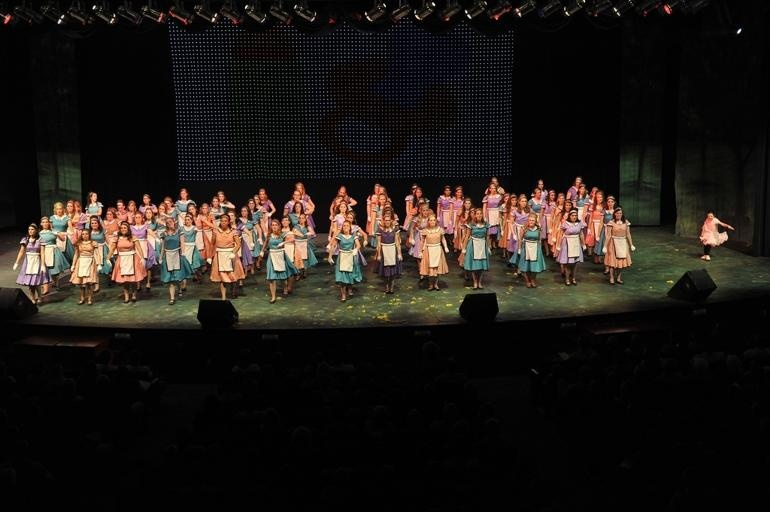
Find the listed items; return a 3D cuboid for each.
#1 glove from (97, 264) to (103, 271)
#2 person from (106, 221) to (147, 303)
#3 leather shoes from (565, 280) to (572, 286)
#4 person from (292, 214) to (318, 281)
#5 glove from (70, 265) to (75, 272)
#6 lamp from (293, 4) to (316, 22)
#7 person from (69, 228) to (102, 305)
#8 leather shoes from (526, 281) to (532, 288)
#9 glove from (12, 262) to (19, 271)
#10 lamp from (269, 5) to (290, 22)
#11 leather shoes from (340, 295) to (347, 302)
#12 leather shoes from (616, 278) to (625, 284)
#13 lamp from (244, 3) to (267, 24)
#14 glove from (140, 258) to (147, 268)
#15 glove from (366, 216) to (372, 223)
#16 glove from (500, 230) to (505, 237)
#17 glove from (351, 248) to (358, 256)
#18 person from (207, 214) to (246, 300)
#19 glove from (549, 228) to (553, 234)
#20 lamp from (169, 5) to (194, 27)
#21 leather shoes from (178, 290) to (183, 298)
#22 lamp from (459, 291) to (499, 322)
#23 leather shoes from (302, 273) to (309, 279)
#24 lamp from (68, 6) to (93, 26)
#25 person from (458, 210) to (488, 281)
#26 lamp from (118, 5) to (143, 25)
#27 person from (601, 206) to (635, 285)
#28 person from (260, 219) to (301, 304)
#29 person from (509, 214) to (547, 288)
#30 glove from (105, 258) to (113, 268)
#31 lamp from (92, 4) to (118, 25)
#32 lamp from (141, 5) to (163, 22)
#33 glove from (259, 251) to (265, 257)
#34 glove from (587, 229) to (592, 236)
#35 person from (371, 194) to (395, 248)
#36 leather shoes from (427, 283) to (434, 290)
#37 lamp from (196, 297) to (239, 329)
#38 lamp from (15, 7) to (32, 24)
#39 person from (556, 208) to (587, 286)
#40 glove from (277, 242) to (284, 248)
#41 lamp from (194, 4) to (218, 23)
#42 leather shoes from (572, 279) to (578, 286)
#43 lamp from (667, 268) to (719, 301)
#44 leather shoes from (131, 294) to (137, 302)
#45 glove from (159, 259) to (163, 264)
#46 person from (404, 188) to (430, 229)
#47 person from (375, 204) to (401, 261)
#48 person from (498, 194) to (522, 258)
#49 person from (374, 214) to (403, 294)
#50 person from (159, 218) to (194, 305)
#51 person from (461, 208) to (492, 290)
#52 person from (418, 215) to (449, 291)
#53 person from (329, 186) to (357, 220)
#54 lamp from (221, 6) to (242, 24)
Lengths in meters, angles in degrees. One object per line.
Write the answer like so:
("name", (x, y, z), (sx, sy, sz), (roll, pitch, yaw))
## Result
("glove", (-4.984, 0.198, 9.773), (0.069, 0.085, 0.047), (-1, 3, -26))
("person", (-4.470, 0.046, 9.671), (0.541, 1.379, 0.785), (-8, 14, -25))
("leather shoes", (3.370, 0.482, 10.340), (0.092, 0.063, 0.247), (-2, 2, 9))
("person", (-1.580, -0.216, 10.651), (0.565, 1.146, 0.529), (-1, 10, -13))
("glove", (-5.598, 0.199, 10.004), (0.154, 0.138, 0.037), (0, -7, 25))
("lamp", (-1.463, -4.456, 10.254), (0.298, 0.356, 0.925), (-2, 11, -2))
("person", (-5.153, 0.138, 9.613), (0.458, 1.241, 0.751), (-8, 14, -26))
("leather shoes", (2.607, 0.500, 10.191), (0.113, 0.101, 0.270), (-5, -5, 10))
("glove", (-7.420, 0.202, 11.222), (0.124, 0.159, 0.048), (-1, 42, -6))
("lamp", (-1.932, -4.499, 10.238), (0.327, 0.322, 0.508), (-3, 12, -9))
("leather shoes", (-0.726, 0.709, 9.558), (0.105, 0.064, 0.261), (-2, 1, 1))
("leather shoes", (4.320, 0.447, 10.348), (0.094, 0.110, 0.301), (-3, -5, 13))
("lamp", (-2.470, -4.676, 10.685), (0.318, 0.449, 0.901), (-4, 12, -9))
("glove", (-4.285, 0.099, 9.904), (0.149, 0.200, 0.066), (17, 21, 38))
("glove", (-0.357, -0.861, 12.894), (0.132, 0.167, 0.063), (0, 14, 17))
("glove", (2.521, -0.505, 12.085), (0.090, 0.102, 0.178), (-4, -4, 12))
("glove", (-0.520, -0.087, 9.473), (0.057, 0.126, 0.195), (4, 13, 23))
("person", (-2.756, -0.017, 9.680), (0.500, 1.502, 1.014), (-5, 13, -15))
("glove", (3.499, -0.542, 11.862), (0.026, 0.100, 0.105), (12, 8, -12))
("lamp", (-3.760, -4.492, 10.301), (0.361, 0.316, 0.410), (-9, 14, -33))
("leather shoes", (-3.645, 0.665, 9.923), (0.135, 0.153, 0.387), (0, -1, -21))
("lamp", (1.329, 0.734, 8.149), (0.545, 0.479, 0.445), (-2, 18, -3))
("leather shoes", (-1.618, 0.375, 11.135), (0.111, 0.102, 0.120), (-24, -2, 1))
("lamp", (-5.894, -4.693, 10.792), (0.369, 0.461, 0.896), (-8, 13, -27))
("person", (1.622, -0.174, 10.195), (0.606, 1.363, 0.566), (2, 10, 13))
("lamp", (-4.750, -4.516, 10.343), (0.354, 0.374, 0.402), (-7, 13, -23))
("person", (4.343, -0.253, 10.467), (0.510, 1.372, 0.948), (3, 13, 20))
("person", (-1.839, -0.004, 9.808), (0.500, 1.379, 1.055), (-4, 12, -11))
("person", (2.695, -0.195, 10.455), (0.479, 1.335, 1.019), (1, 12, 12))
("glove", (-4.891, 0.111, 9.892), (0.153, 0.145, 0.198), (3, -6, -5))
("lamp", (-5.217, -4.548, 10.384), (0.349, 0.413, 0.612), (-7, 13, -25))
("lamp", (-4.362, -4.568, 10.437), (0.332, 0.319, 0.497), (-6, 13, -22))
("glove", (-2.617, -0.063, 11.799), (0.095, 0.058, 0.132), (-1, 36, 2))
("glove", (4.380, -0.521, 12.032), (0.088, 0.111, 0.037), (-5, -10, 37))
("person", (-0.085, -0.762, 11.881), (0.463, 1.109, 0.434), (-1, 22, 0))
("leather shoes", (0.810, 0.543, 10.150), (0.126, 0.131, 0.358), (-1, -2, 9))
("lamp", (-2.353, 0.813, 7.881), (0.539, 0.481, 0.425), (4, 40, -8))
("lamp", (-6.812, -4.603, 10.514), (0.246, 0.295, 0.399), (-10, 15, -35))
("person", (3.434, -0.221, 10.459), (0.454, 1.356, 0.792), (2, 13, 17))
("glove", (-1.768, -0.204, 9.493), (0.067, 0.110, 0.153), (3, 13, 22))
("lamp", (-3.269, -4.461, 10.200), (0.306, 0.335, 0.601), (-3, 12, -8))
("leather shoes", (3.483, 0.474, 10.331), (0.107, 0.118, 0.318), (-2, -3, 16))
("lamp", (4.930, 0.446, 9.018), (0.416, 0.526, 0.580), (-5, 12, -15))
("leather shoes", (-4.324, 0.716, 9.664), (0.112, 0.114, 0.107), (1, -4, -20))
("glove", (-3.923, 0.081, 9.758), (0.067, 0.082, 0.024), (-1, -11, 7))
("person", (0.685, -1.060, 12.759), (0.662, 1.037, 0.554), (-9, 18, -26))
("person", (0.043, -0.201, 9.794), (0.477, 1.084, 0.347), (-1, 28, -1))
("person", (2.645, -0.605, 11.561), (0.554, 1.302, 0.519), (8, 26, 22))
("person", (0.045, -0.100, 9.778), (0.467, 1.269, 0.435), (0, 19, 1))
("person", (-3.650, 0.016, 9.640), (0.458, 1.424, 0.918), (-5, 13, -14))
("person", (1.639, -0.176, 10.232), (0.472, 1.451, 0.612), (0, 13, 8))
("person", (0.867, -0.120, 10.194), (0.477, 1.340, 0.705), (-1, 12, 3))
("person", (-0.879, -1.129, 11.871), (0.450, 0.876, 0.258), (-2, 49, 6))
("lamp", (-2.825, -4.460, 10.238), (0.336, 0.254, 0.565), (-2, 12, -4))
